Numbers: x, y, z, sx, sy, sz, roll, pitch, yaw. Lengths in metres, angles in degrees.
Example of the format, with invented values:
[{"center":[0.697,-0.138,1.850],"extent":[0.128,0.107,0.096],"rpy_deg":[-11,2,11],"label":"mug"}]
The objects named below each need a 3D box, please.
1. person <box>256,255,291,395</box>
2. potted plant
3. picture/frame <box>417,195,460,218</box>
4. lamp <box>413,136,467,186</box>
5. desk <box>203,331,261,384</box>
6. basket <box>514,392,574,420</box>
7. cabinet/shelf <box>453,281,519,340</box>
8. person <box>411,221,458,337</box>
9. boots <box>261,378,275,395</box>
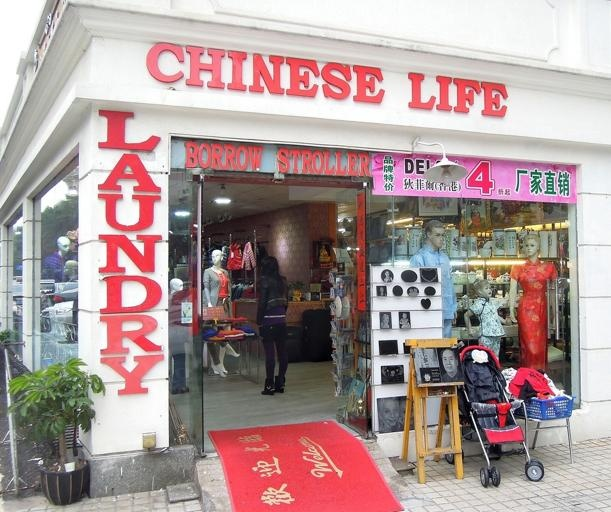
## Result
[{"center":[-0.438,0.926,7.317],"extent":[0.405,1.817,0.570],"rpy_deg":[-2,-11,-3],"label":"person"},{"center":[-2.119,1.494,4.665],"extent":[0.739,1.192,0.929],"rpy_deg":[2,-12,-22],"label":"potted plant"},{"center":[1.471,-0.542,6.038],"extent":[0.533,0.207,0.064],"rpy_deg":[1,-11,-22],"label":"picture/frame"},{"center":[1.312,-1.011,5.493],"extent":[0.459,0.469,0.305],"rpy_deg":[0,-3,14],"label":"lamp"},{"center":[-0.969,1.546,8.570],"extent":[0.586,0.575,0.600],"rpy_deg":[6,6,-28],"label":"desk"},{"center":[2.311,1.410,5.233],"extent":[0.252,0.147,0.380],"rpy_deg":[0,-6,-14],"label":"basket"},{"center":[2.008,0.620,6.205],"extent":[0.523,0.959,0.342],"rpy_deg":[-3,-11,-32],"label":"cabinet/shelf"},{"center":[1.425,0.243,5.991],"extent":[0.579,1.269,0.215],"rpy_deg":[8,-15,-44],"label":"person"},{"center":[-0.503,1.769,7.394],"extent":[0.113,0.204,0.251],"rpy_deg":[1,4,-27],"label":"boots"}]
